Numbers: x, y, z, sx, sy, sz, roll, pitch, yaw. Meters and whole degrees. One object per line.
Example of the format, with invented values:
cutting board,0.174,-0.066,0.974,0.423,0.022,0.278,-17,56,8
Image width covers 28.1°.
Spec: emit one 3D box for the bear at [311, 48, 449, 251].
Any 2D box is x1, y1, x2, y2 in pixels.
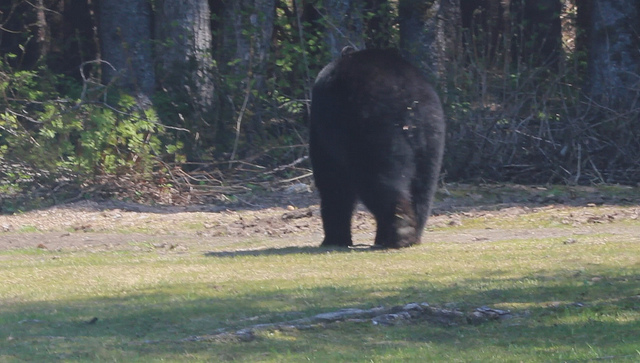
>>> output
bear,1.354,-0.559,30.720,3.510,4.404,6.272,-3,-8,-15
